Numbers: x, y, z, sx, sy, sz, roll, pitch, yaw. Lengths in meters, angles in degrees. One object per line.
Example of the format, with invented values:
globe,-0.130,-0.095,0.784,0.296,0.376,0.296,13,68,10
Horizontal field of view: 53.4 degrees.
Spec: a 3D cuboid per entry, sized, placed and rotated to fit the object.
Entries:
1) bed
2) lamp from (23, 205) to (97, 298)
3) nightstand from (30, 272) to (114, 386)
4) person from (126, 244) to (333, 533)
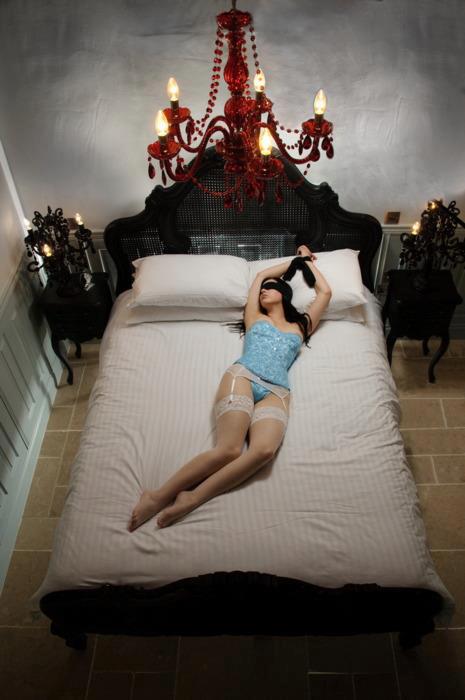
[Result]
bed,-0.025,0.159,2.588,1.922,1.397,2.232,1,71,0
lamp,-1.019,-0.563,2.702,0.347,0.474,0.429,-21,15,-30
nightstand,-0.966,-0.157,2.996,0.509,0.748,0.507,1,49,0
person,0.093,-0.020,1.992,0.516,0.325,1.542,12,45,14
